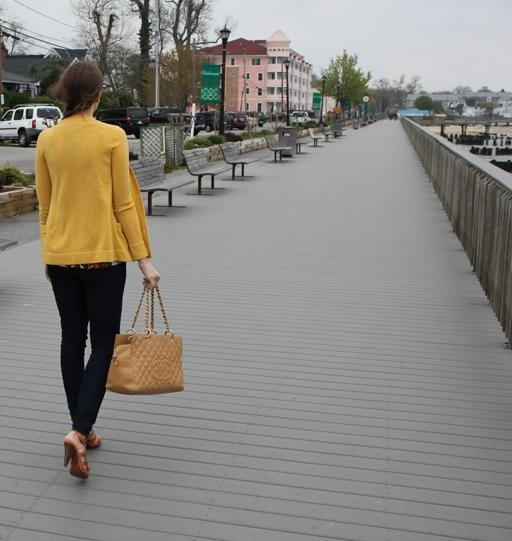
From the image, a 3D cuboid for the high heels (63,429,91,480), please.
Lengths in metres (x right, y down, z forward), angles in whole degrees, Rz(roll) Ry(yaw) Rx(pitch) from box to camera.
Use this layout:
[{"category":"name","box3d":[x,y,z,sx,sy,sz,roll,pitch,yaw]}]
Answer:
[{"category":"high heels","box3d":[-0.774,0.800,2.385,0.089,0.298,0.174,-4,11,-21]}]

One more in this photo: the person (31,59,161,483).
[{"category":"person","box3d":[-0.681,-0.030,2.443,0.469,1.724,0.447,-5,11,-26]}]
